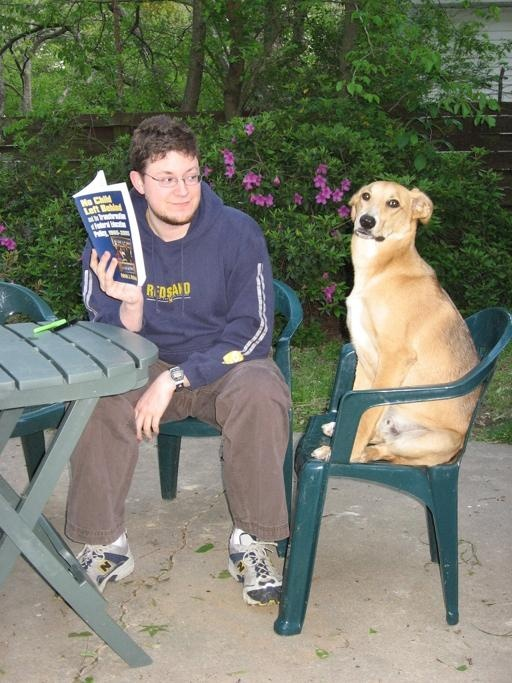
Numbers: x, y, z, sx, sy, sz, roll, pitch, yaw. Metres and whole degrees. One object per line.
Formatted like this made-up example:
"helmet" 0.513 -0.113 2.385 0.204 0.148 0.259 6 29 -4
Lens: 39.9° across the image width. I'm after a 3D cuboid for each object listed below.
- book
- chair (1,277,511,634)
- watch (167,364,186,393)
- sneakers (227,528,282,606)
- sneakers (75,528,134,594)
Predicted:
"book" -0.521 -0.394 2.512 0.168 0.387 0.309 -16 20 -42
"chair" -0.006 0.458 2.630 1.591 0.562 0.529 3 15 11
"watch" -0.302 0.136 2.708 0.066 0.079 0.088 -11 -12 -14
"sneakers" -0.009 0.830 2.563 0.148 0.129 0.326 -6 4 -21
"sneakers" -0.545 0.805 2.621 0.128 0.140 0.340 2 9 32
